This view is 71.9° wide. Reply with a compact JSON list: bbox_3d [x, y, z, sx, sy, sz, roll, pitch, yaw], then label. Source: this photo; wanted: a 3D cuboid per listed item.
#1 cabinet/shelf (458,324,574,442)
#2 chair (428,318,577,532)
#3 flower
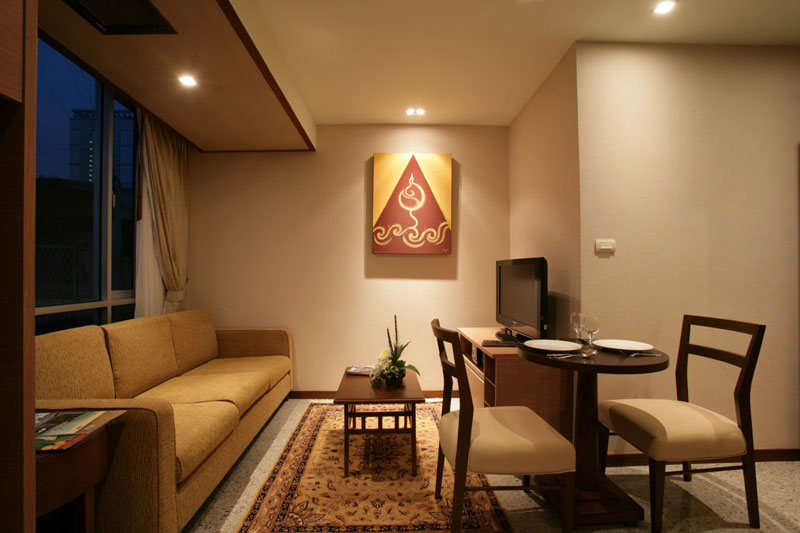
[{"bbox_3d":[1.045,0.949,4.851,0.649,0.697,1.383,2,1,-1],"label":"cabinet/shelf"},{"bbox_3d":[0.620,1.084,4.524,1.236,1.934,1.324,-1,-2,-1],"label":"chair"},{"bbox_3d":[-0.062,0.789,5.025,0.494,0.875,0.542,2,-9,-3],"label":"flower"}]
